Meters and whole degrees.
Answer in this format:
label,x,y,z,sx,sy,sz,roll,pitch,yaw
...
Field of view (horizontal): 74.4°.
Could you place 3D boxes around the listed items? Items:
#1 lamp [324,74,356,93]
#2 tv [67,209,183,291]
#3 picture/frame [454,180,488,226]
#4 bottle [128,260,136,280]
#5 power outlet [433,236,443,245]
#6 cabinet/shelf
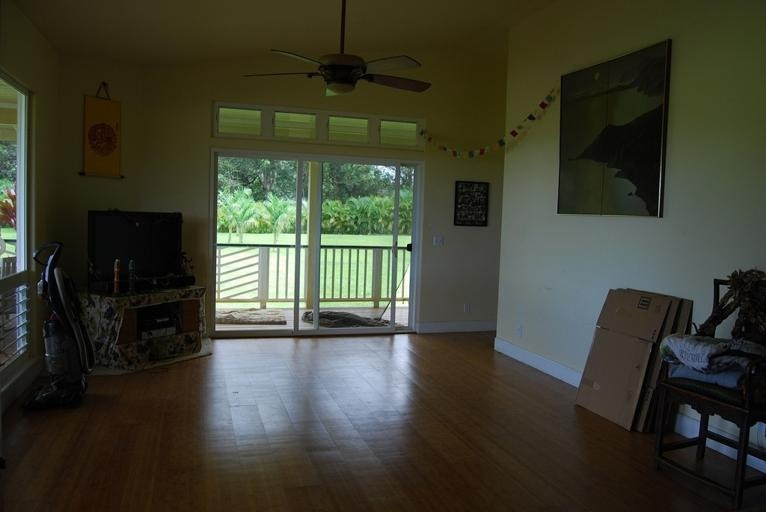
label,x,y,z,sx,sy,sz,roll,pitch,yaw
lamp,-0.371,-1.526,4.450,0.196,0.076,0.197,0,-8,-3
tv,-2.909,-0.072,5.723,0.947,0.818,0.329,0,1,-39
picture/frame,1.254,-0.780,7.360,0.671,0.783,0.054,1,0,-25
bottle,-2.761,0.153,5.569,0.072,0.222,0.354,-4,13,-27
power outlet,0.808,-0.217,7.199,0.122,0.120,0.029,-3,3,-15
cabinet/shelf,-2.605,0.781,5.634,1.193,0.823,0.586,-5,14,-30
